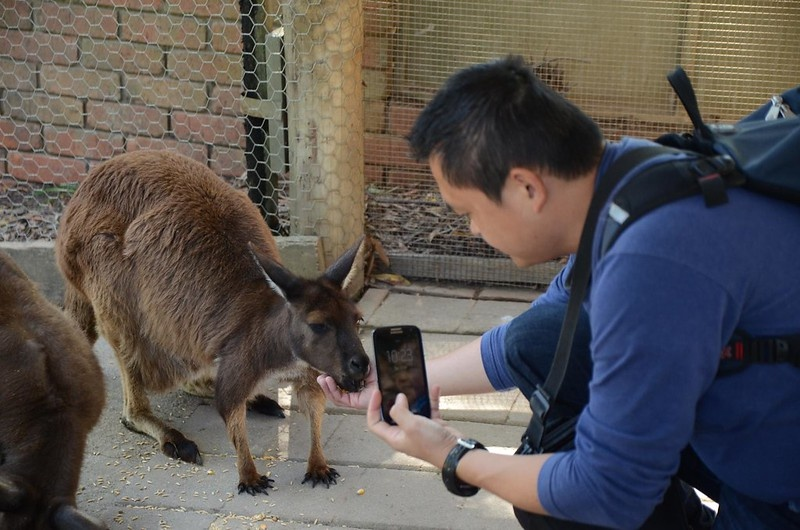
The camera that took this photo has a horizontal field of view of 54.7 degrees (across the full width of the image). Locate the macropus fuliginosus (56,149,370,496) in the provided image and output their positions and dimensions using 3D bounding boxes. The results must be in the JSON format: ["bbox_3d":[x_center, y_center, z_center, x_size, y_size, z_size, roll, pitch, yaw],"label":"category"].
[{"bbox_3d":[-1.278,0.287,4.859,2.943,1.695,1.178,21,24,37],"label":"macropus fuliginosus"}]
